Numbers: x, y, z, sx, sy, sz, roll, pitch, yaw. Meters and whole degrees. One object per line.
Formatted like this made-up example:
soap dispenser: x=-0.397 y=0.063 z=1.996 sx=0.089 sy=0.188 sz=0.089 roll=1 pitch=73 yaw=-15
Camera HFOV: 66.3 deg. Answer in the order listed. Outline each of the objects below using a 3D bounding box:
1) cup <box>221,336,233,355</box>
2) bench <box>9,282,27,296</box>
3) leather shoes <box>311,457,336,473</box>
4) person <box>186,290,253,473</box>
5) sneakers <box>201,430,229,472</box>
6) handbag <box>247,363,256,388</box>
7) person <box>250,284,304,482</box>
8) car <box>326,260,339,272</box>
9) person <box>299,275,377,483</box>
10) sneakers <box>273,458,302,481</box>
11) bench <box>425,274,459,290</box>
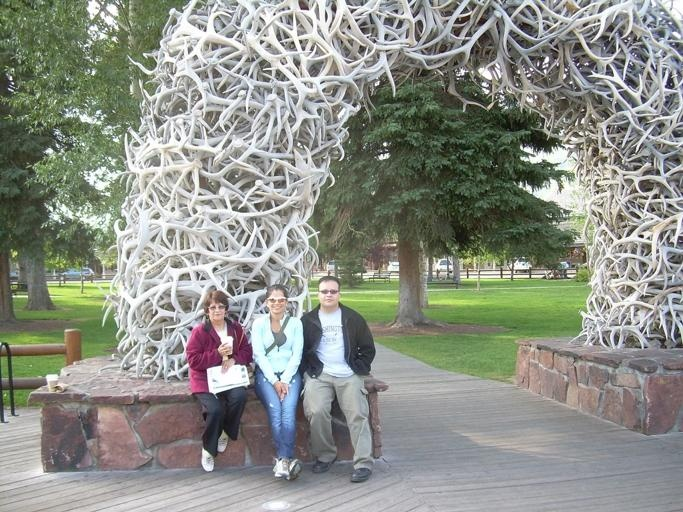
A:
cup: x=-1.080 y=0.859 z=5.021 sx=0.135 sy=0.139 sz=0.132 roll=-2 pitch=-18 yaw=-1
bench: x=-22.222 y=2.276 z=36.215 sx=0.776 sy=0.787 sz=7.891 roll=0 pitch=-1 yaw=-32
leather shoes: x=-0.184 y=2.027 z=5.070 sx=0.088 sy=0.102 sz=0.243 roll=-5 pitch=-11 yaw=27
person: x=-1.182 y=1.198 z=5.017 sx=0.579 sy=1.719 sz=0.423 roll=0 pitch=1 yaw=9
sneakers: x=-1.207 y=1.895 z=4.999 sx=0.156 sy=0.468 sz=0.184 roll=22 pitch=-18 yaw=-30
handbag: x=-0.904 y=1.208 z=5.270 sx=0.058 sy=0.193 sz=0.140 roll=1 pitch=1 yaw=-25
person: x=-0.594 y=1.183 z=5.038 sx=0.540 sy=1.719 sz=0.793 roll=1 pitch=-27 yaw=-12
car: x=-1.149 y=1.198 z=60.992 sx=1.068 sy=1.000 sz=1.861 roll=1 pitch=6 yaw=9
person: x=-0.056 y=1.148 z=5.134 sx=0.762 sy=1.888 sz=0.607 roll=0 pitch=1 yaw=12
sneakers: x=-0.489 y=1.967 z=4.783 sx=0.155 sy=0.128 sz=0.336 roll=-18 pitch=14 yaw=-20
bench: x=8.942 y=2.134 z=46.222 sx=2.314 sy=0.802 sz=12.852 roll=0 pitch=-1 yaw=11
